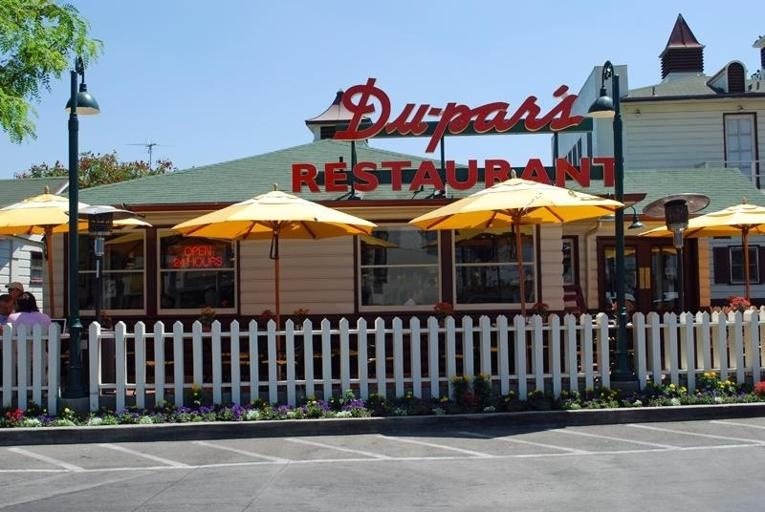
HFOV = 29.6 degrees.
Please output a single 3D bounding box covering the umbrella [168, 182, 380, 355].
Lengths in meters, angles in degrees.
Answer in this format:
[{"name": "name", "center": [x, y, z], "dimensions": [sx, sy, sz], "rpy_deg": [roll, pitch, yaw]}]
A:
[{"name": "umbrella", "center": [-2.194, 0.064, 32.284], "dimensions": [3.855, 3.043, 3.394], "rpy_deg": [-4, -4, 19]}]
